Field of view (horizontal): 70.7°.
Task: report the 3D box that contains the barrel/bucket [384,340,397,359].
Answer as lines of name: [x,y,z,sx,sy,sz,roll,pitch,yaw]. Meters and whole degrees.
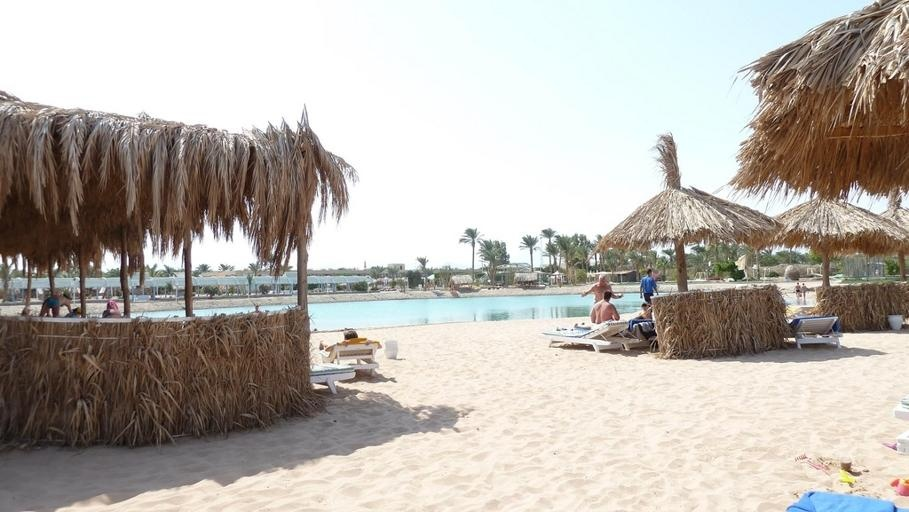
barrel/bucket: [-1.407,1.994,13.622,0.367,0.389,0.345,-1,0,0]

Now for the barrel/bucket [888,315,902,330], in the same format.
barrel/bucket: [10.504,1.597,15.236,0.352,0.304,0.344,3,3,0]

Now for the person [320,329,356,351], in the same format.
person: [-2.367,1.687,13.343,0.633,0.321,0.841,-4,-17,-27]

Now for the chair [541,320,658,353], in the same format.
chair: [2.970,1.766,14.031,1.607,0.495,0.940,4,2,39]

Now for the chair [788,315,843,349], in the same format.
chair: [7.433,1.538,13.238,0.947,0.651,0.586,3,13,21]

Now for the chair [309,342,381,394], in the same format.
chair: [-1.938,2.029,11.765,0.772,0.489,1.088,-2,1,-27]
